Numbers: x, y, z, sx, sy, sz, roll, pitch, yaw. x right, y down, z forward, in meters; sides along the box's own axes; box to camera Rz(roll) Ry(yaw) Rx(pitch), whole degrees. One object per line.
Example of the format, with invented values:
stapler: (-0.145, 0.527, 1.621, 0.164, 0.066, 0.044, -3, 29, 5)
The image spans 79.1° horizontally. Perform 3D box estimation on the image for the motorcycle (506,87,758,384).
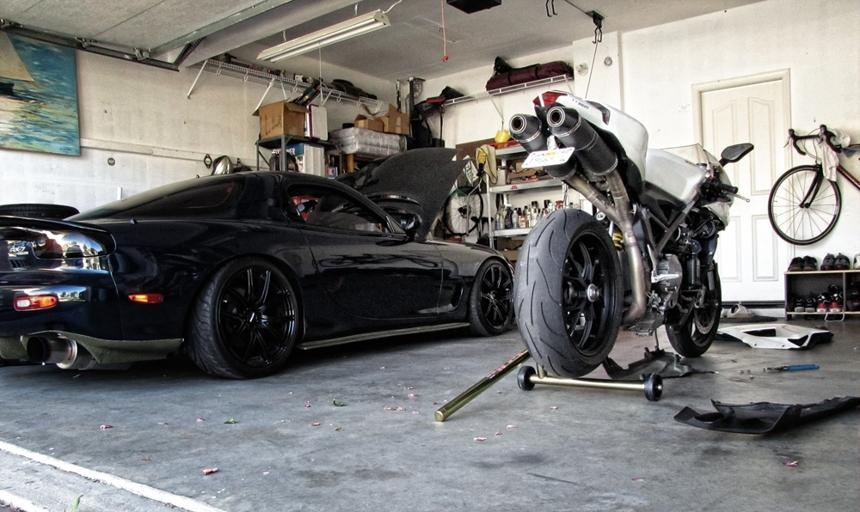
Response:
motorcycle: (1.241, -0.038, 3.157, 1.818, 1.750, 0.431, -7, 10, -36)

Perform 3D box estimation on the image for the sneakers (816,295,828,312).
sneakers: (5.131, 0.622, 6.713, 0.121, 0.195, 0.193, 4, 9, 34)

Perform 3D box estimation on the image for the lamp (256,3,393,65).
lamp: (-1.479, -3.044, 7.208, 2.096, 0.362, 0.339, 2, 9, 28)

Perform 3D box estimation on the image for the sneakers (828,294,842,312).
sneakers: (5.264, 0.604, 6.680, 0.136, 0.146, 0.385, 0, 14, 35)

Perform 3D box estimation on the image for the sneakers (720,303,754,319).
sneakers: (3.783, 0.640, 6.311, 0.254, 0.137, 0.359, 3, 6, 14)

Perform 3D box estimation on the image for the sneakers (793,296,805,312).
sneakers: (4.962, 0.650, 6.916, 0.119, 0.142, 0.314, 3, 8, 33)
